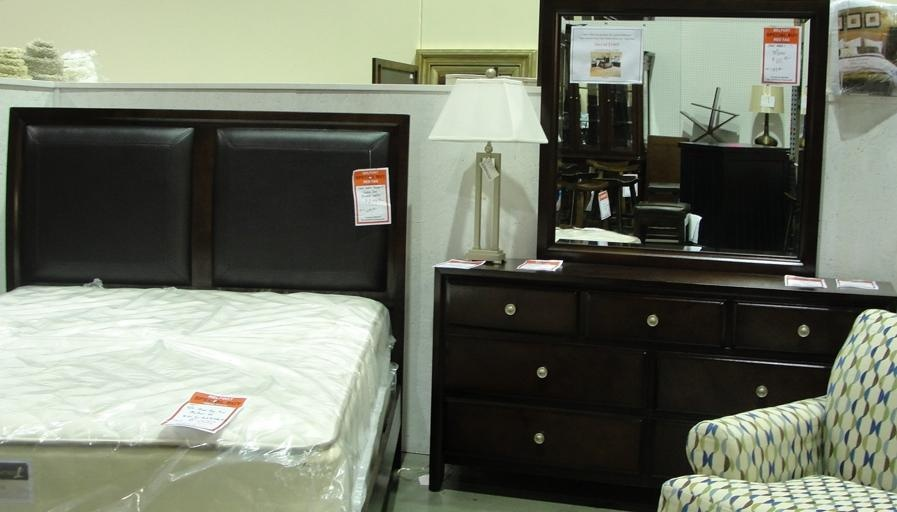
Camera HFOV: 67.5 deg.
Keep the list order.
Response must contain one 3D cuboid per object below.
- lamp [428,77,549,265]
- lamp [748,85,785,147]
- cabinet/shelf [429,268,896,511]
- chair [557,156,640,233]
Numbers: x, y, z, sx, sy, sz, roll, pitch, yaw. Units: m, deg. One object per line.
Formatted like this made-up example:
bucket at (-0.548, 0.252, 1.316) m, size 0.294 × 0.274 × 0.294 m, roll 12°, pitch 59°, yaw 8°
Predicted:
lamp at (0.240, -0.521, 3.943) m, size 0.640 × 1.092 × 0.461 m, roll 1°, pitch 11°, yaw 7°
lamp at (1.813, -0.797, 3.839) m, size 0.173 × 0.343 × 0.064 m, roll 4°, pitch 12°, yaw 17°
cabinet/shelf at (1.151, 0.654, 3.527) m, size 1.557 × 0.711 × 0.430 m, roll 1°, pitch 2°, yaw 14°
chair at (0.925, -0.395, 4.118) m, size 0.444 × 0.435 × 0.449 m, roll 3°, pitch 14°, yaw 13°
